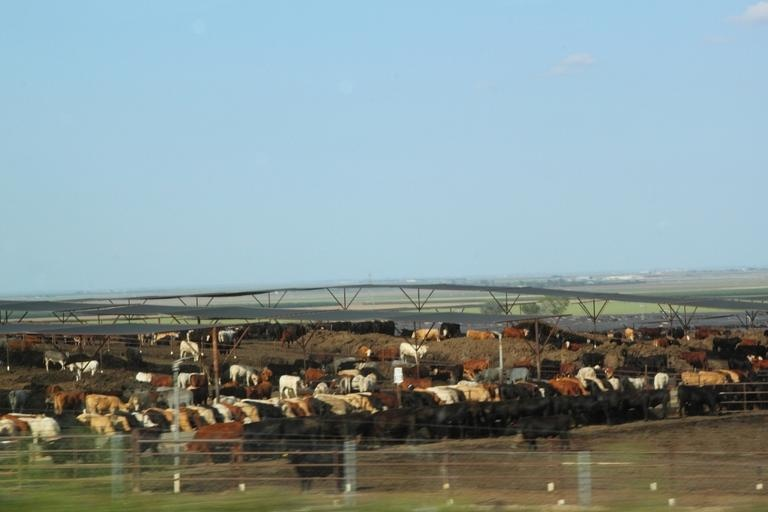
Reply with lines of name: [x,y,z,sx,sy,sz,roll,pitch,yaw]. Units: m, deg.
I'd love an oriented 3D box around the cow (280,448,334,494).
cow: [-3.779,10.982,78.209,2.377,2.419,2.839,-1,-18,-6]
